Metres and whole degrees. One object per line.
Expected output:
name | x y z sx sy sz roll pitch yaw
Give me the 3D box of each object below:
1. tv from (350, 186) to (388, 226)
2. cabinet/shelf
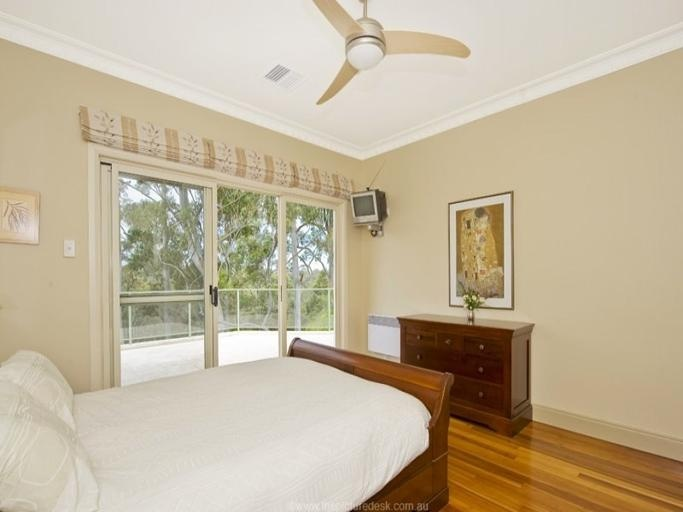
tv | 0.358 -0.618 5.825 0.406 0.419 0.275 -1 6 39
cabinet/shelf | 1.192 1.095 4.595 1.205 1.010 0.519 2 7 38
